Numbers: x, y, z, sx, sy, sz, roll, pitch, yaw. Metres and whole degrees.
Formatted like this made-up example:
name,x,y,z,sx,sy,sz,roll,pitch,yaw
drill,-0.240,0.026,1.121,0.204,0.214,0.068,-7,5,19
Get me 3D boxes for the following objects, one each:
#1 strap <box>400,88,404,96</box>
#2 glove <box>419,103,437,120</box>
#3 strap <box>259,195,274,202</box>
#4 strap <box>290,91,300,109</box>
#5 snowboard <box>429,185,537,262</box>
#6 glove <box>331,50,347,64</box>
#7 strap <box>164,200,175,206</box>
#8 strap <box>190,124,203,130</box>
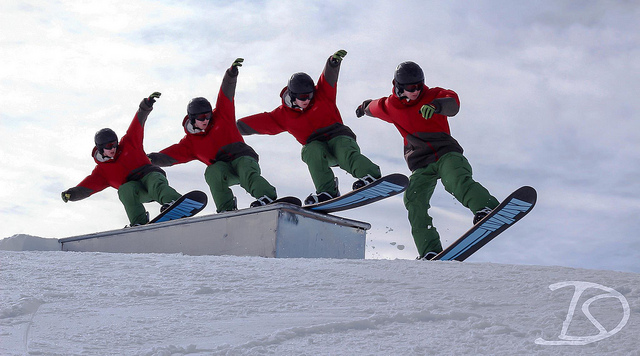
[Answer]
name,x,y,z,sx,sy,sz,roll,pitch,yaw
strap,1.184,-1.248,9.229,0.027,0.091,0.017,13,19,30
glove,1.448,-0.891,8.551,0.187,0.213,0.063,7,8,12
strap,-0.863,0.327,10.169,0.227,0.088,0.073,22,-1,14
strap,-0.353,-1.243,10.226,0.167,0.191,0.206,-3,10,12
snowboard,2.083,0.512,8.069,0.298,2.085,0.170,51,34,-5
glove,0.269,-1.884,9.911,0.184,0.209,0.282,16,-2,-2
strap,-2.658,0.441,11.298,0.041,0.047,0.329,28,-20,-22
strap,-2.114,-0.856,10.881,0.181,0.050,0.029,15,40,17
